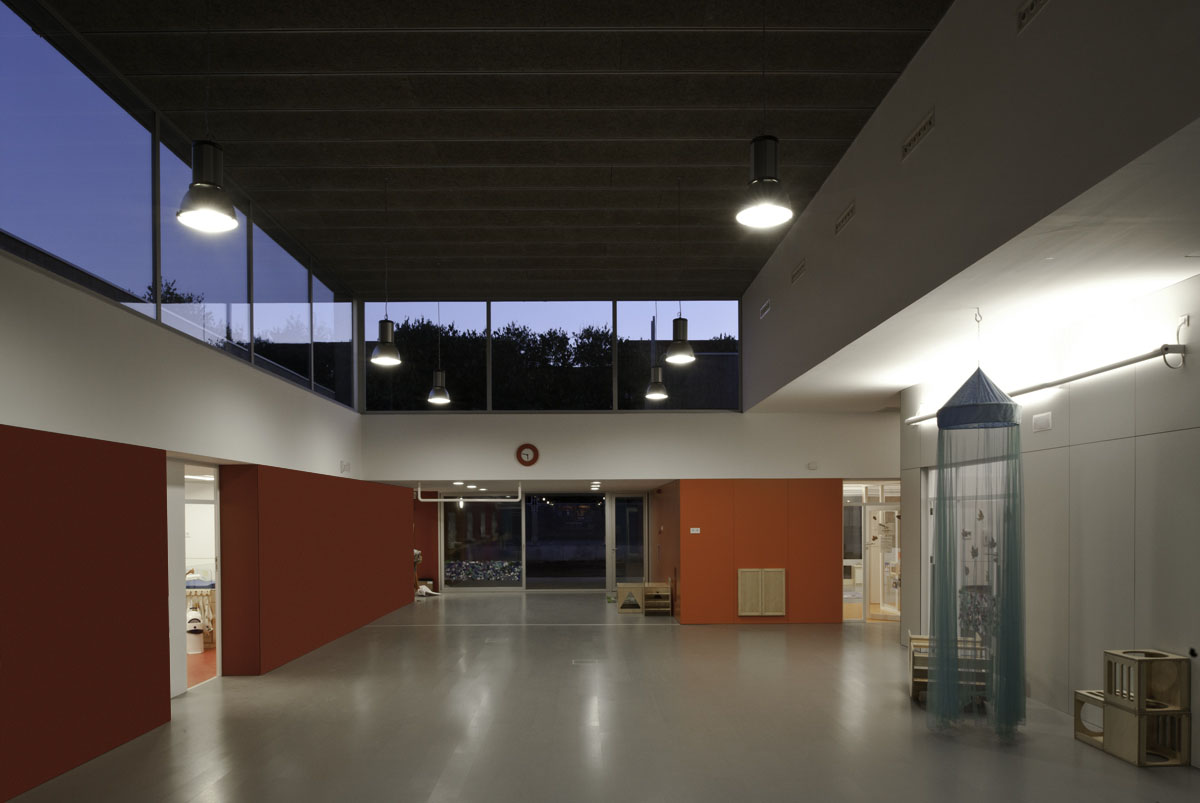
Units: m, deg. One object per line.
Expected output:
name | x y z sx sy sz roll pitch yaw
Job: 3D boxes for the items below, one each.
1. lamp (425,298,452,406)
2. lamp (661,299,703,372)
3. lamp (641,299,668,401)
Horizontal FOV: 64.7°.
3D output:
lamp | -2.604 -0.760 15.422 0.411 1.767 1.590 -1 2 -10
lamp | 1.117 -0.858 13.449 0.390 0.629 0.403 13 -18 -41
lamp | 0.866 -0.713 14.946 0.278 1.278 0.319 -1 -1 14
